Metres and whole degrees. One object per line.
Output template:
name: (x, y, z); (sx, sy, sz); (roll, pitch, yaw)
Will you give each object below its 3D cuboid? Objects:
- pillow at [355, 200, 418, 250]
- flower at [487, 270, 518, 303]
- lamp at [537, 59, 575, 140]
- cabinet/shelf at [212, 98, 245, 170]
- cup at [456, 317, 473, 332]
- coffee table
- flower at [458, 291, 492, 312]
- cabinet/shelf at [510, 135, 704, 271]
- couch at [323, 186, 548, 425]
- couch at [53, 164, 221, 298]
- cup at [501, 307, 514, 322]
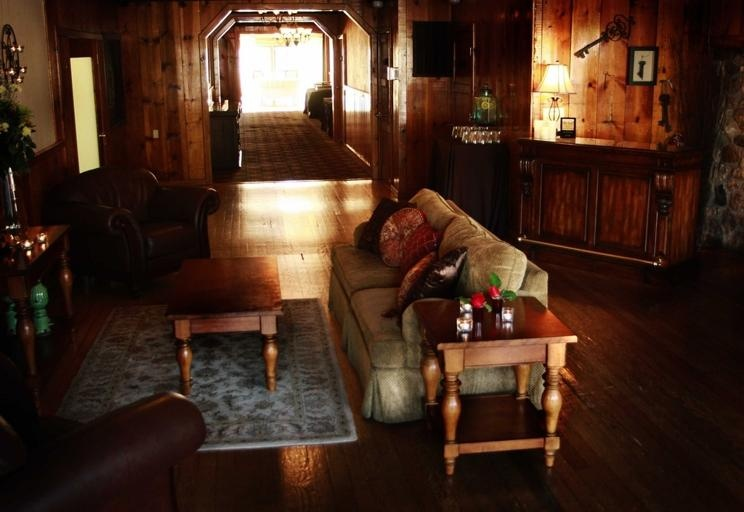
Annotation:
pillow: (0.096, -0.288, 5.070); (0.146, 0.489, 0.502); (27, 0, -15)
flower: (0.742, 0.187, 3.257); (0.162, 0.187, 0.053); (7, -9, -21)
lamp: (2.149, -1.833, 6.430); (0.468, 0.854, 0.591); (5, 17, 16)
cabinet/shelf: (-3.109, -2.420, 11.716); (0.630, 1.247, 0.724); (-5, 17, -15)
cup: (0.510, 0.385, 3.046); (0.075, 0.060, 0.079); (0, 8, 0)
coffee table: (-1.086, 0.314, 4.140); (0.757, 0.654, 1.310); (1, 26, -6)
flower: (0.603, 0.267, 3.218); (0.126, 0.093, 0.131); (-2, 9, -12)
cabinet/shelf: (2.551, -0.570, 5.854); (0.579, 0.918, 1.277); (-12, 19, -38)
couch: (0.442, 0.368, 4.011); (1.236, 1.090, 2.717); (-2, 21, -6)
couch: (-2.555, -0.273, 6.078); (1.202, 1.309, 1.699); (5, 15, 22)
cup: (0.774, 0.338, 3.170); (0.064, 0.055, 0.072); (0, 6, 1)
